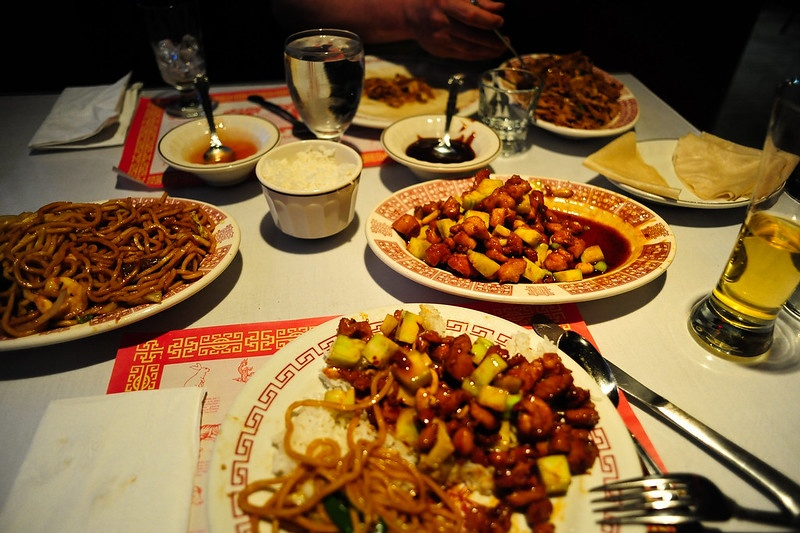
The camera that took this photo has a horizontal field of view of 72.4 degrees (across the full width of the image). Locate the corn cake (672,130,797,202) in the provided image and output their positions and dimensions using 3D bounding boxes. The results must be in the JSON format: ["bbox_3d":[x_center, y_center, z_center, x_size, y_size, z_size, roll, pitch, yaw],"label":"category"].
[{"bbox_3d":[1.709,-0.550,2.859,0.532,0.377,0.362,1,14,11],"label":"corn cake"}]

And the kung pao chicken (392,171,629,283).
[{"bbox_3d":[0.675,-0.350,3.063,1.472,0.479,1.065,8,19,30],"label":"kung pao chicken"}]

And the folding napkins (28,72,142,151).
[{"bbox_3d":[-2.013,-1.008,3.462,0.497,0.161,0.588,-3,44,-1],"label":"folding napkins"}]

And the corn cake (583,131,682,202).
[{"bbox_3d":[1.218,-0.557,3.098,0.382,0.380,0.594,12,20,39],"label":"corn cake"}]
